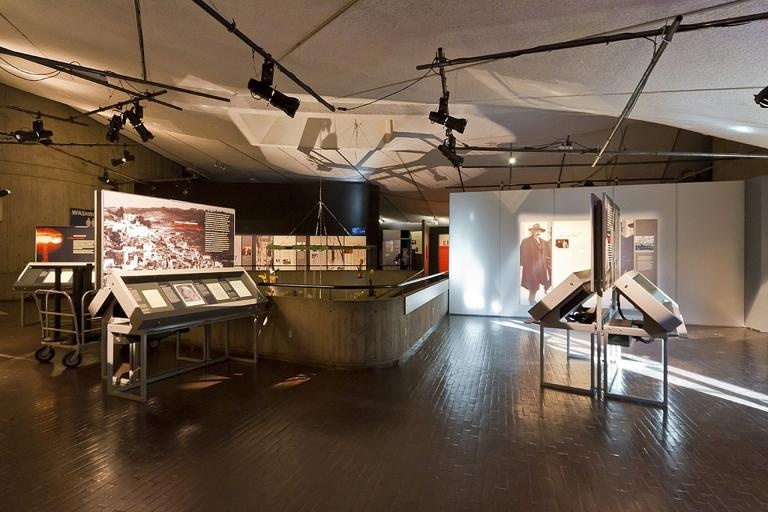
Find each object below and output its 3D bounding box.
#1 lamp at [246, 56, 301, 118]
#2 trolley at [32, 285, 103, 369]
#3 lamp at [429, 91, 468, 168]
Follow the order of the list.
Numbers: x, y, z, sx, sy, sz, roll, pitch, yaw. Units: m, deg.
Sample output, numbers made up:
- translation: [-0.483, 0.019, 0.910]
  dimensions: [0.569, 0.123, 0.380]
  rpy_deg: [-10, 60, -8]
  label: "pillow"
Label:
- translation: [-1.908, -2.944, 8.978]
  dimensions: [0.540, 0.890, 0.749]
  rpy_deg: [2, 3, 39]
  label: "lamp"
- translation: [-5.882, 1.346, 9.953]
  dimensions: [0.927, 1.150, 1.683]
  rpy_deg: [1, -5, 4]
  label: "trolley"
- translation: [1.336, -2.583, 10.049]
  dimensions: [0.739, 1.386, 0.376]
  rpy_deg: [18, 33, 21]
  label: "lamp"
